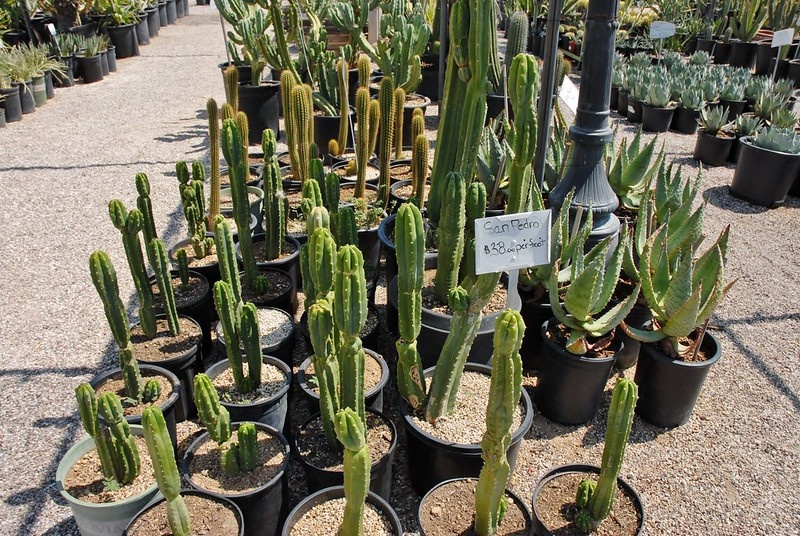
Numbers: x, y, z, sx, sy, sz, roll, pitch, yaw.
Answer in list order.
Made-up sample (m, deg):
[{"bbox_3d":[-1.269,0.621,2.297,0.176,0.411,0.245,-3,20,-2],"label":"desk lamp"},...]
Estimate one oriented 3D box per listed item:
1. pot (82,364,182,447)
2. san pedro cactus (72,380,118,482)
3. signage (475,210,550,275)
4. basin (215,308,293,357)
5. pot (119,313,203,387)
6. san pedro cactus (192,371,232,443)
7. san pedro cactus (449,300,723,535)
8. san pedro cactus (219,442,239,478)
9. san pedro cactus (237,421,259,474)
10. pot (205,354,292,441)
[{"bbox_3d":[-1.590,0.764,4.210,0.441,0.414,0.524,1,31,-2],"label":"pot"},{"bbox_3d":[-1.728,0.930,3.982,0.126,0.663,0.142,-9,38,-20],"label":"san pedro cactus"},{"bbox_3d":[0.610,-0.144,3.865,0.310,0.266,0.026,-10,20,-18],"label":"signage"},{"bbox_3d":[-0.853,0.397,4.673,0.311,0.121,0.349,6,34,5],"label":"basin"},{"bbox_3d":[-1.500,0.507,4.493,0.347,0.351,0.446,4,28,2],"label":"pot"},{"bbox_3d":[-1.057,0.792,3.937,0.177,0.435,0.135,-3,25,-5],"label":"san pedro cactus"},{"bbox_3d":[0.875,0.750,4.066,0.937,0.986,1.133,2,22,4],"label":"san pedro cactus"},{"bbox_3d":[-0.970,1.075,3.968,0.102,0.176,0.078,2,25,6],"label":"san pedro cactus"},{"bbox_3d":[-0.868,1.008,3.966,0.108,0.280,0.070,-9,26,-18],"label":"san pedro cactus"},{"bbox_3d":[-0.906,0.813,4.280,0.410,0.387,0.490,-1,29,-4],"label":"pot"}]
